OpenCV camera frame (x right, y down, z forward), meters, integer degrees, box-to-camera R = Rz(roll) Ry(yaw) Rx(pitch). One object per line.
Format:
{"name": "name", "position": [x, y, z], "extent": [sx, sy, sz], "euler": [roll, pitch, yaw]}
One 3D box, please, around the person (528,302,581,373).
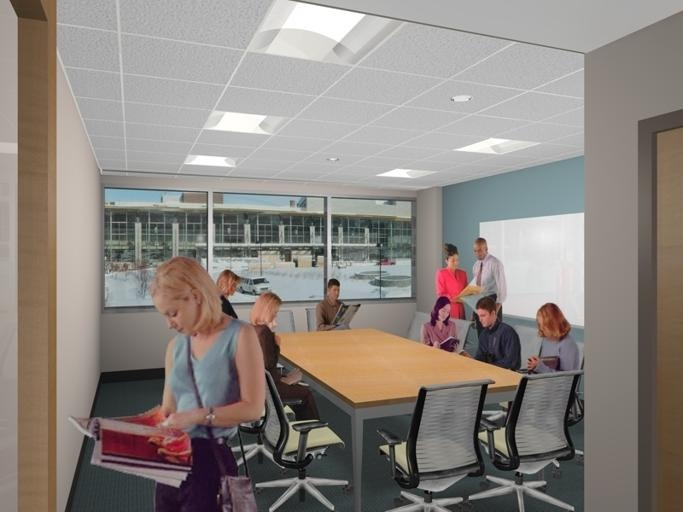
{"name": "person", "position": [1.945, 0.823, 4.303], "extent": [0.444, 0.719, 0.477], "euler": [2, -8, -1]}

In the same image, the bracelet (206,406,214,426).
{"name": "bracelet", "position": [-0.461, 0.562, 1.618], "extent": [0.019, 0.049, 0.037], "euler": [10, 3, -21]}

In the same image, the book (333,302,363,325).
{"name": "book", "position": [0.041, 0.806, 6.422], "extent": [0.116, 0.334, 0.490], "euler": [28, -6, 4]}

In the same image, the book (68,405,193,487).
{"name": "book", "position": [-0.655, 0.592, 1.530], "extent": [0.389, 0.134, 0.294], "euler": [5, -2, -41]}

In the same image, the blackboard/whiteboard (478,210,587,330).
{"name": "blackboard/whiteboard", "position": [2.553, 0.207, 6.140], "extent": [0.047, 1.202, 1.860], "euler": [1, -3, -26]}

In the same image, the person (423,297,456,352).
{"name": "person", "position": [1.195, 0.881, 5.619], "extent": [0.455, 0.724, 0.406], "euler": [2, 0, -16]}
